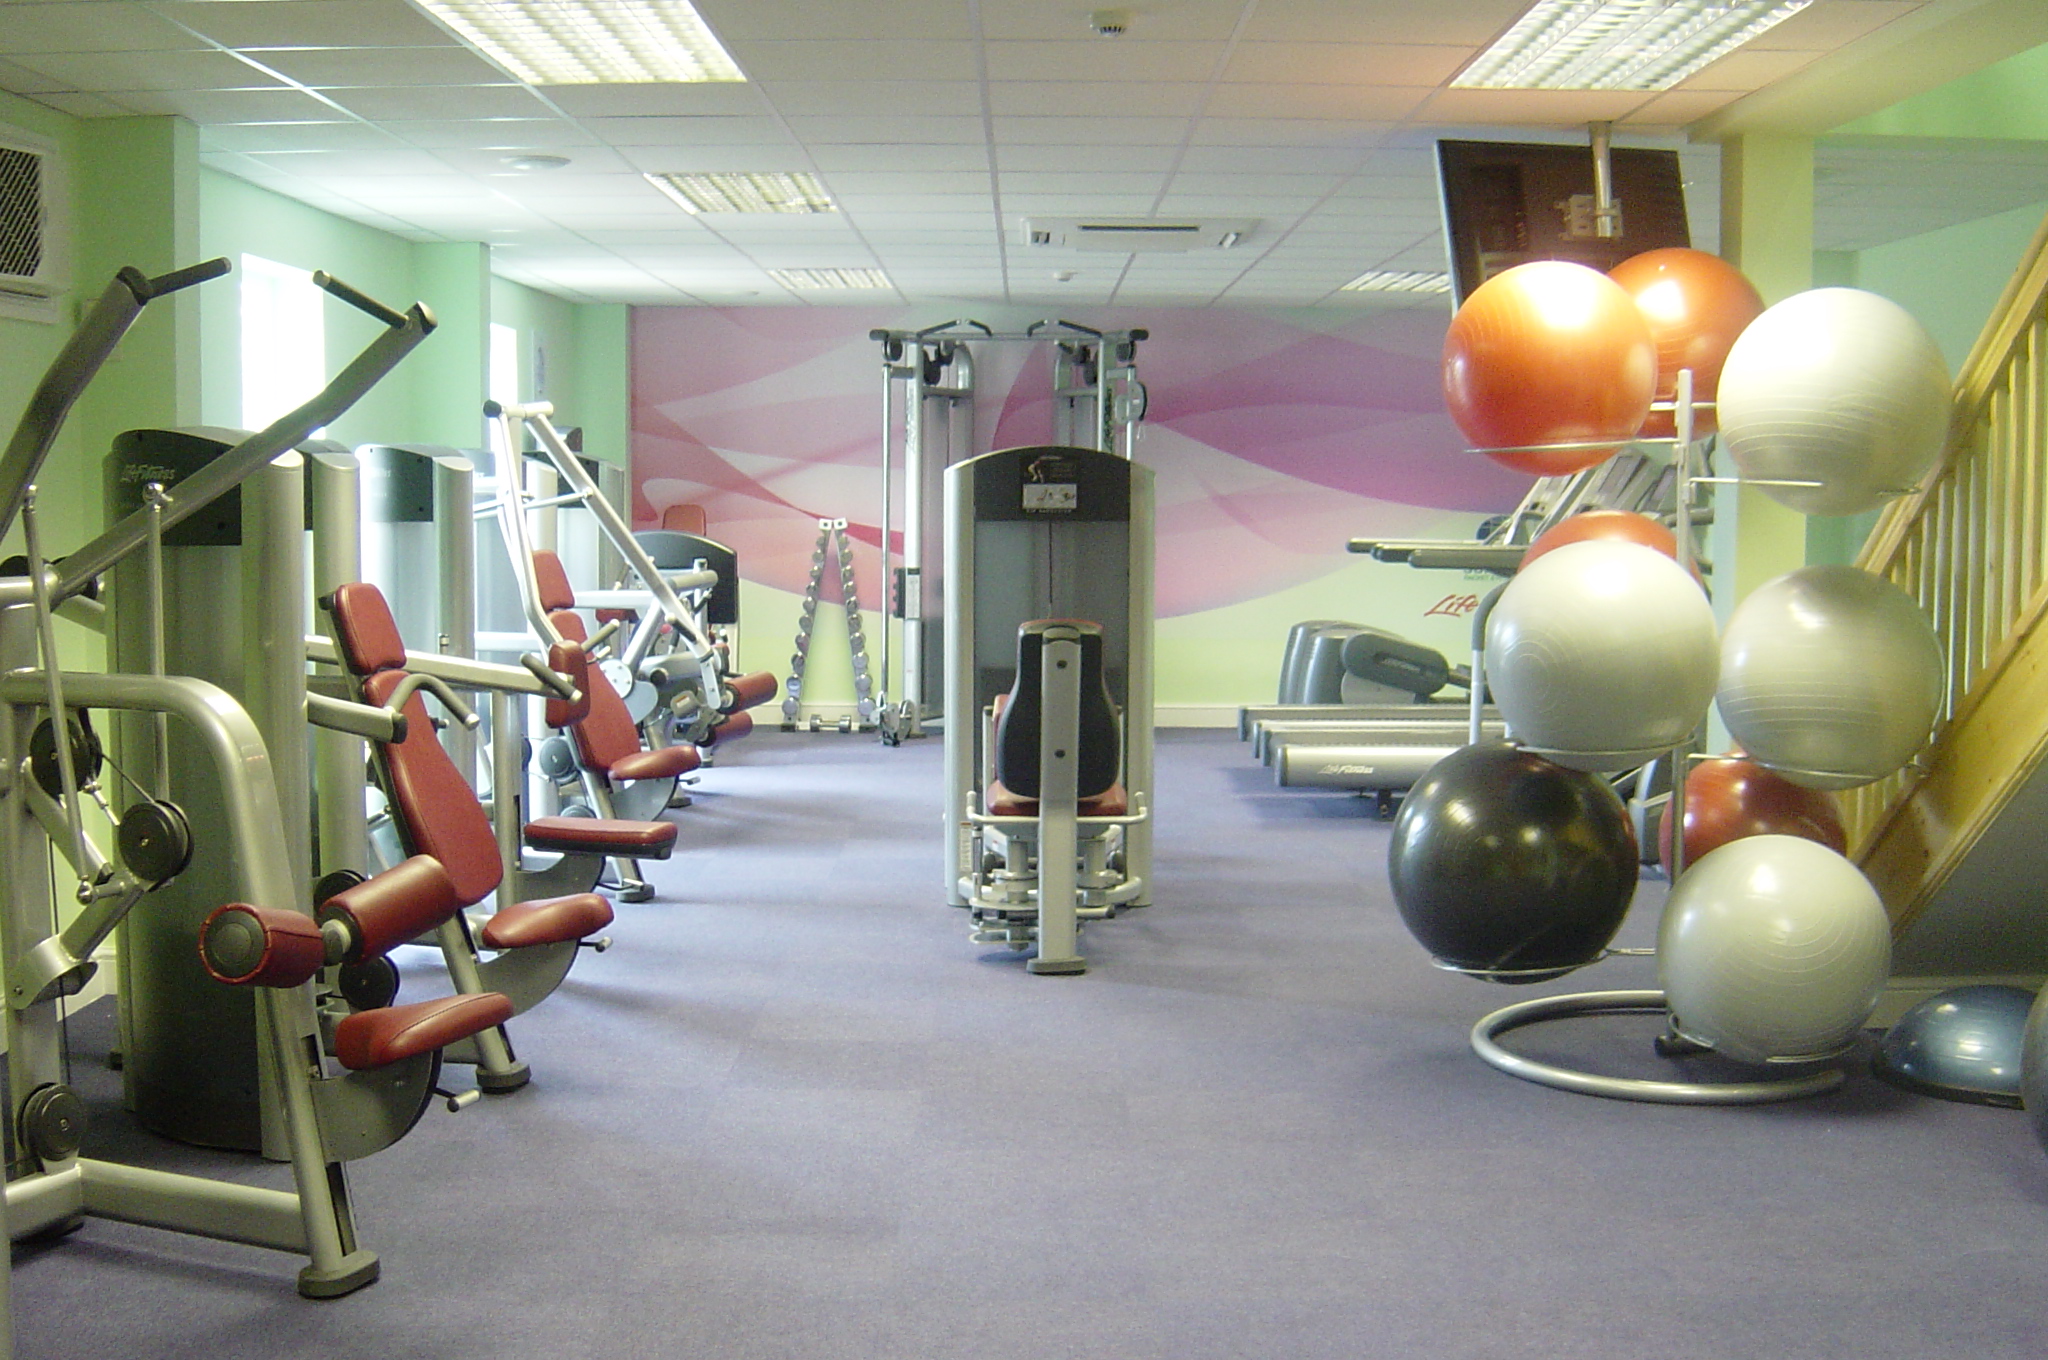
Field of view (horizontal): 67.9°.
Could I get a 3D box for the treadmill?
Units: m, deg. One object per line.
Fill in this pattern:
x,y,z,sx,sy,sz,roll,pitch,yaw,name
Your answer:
2.534,-0.243,8.549,2.360,2.276,1.945,3,1,4,treadmill
